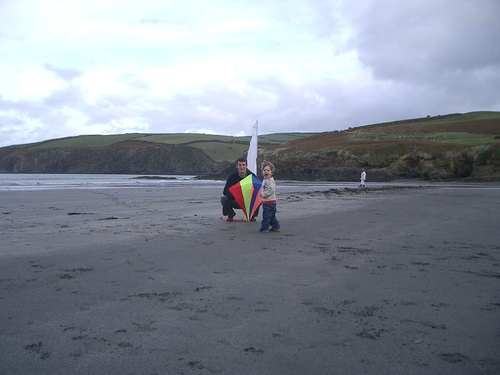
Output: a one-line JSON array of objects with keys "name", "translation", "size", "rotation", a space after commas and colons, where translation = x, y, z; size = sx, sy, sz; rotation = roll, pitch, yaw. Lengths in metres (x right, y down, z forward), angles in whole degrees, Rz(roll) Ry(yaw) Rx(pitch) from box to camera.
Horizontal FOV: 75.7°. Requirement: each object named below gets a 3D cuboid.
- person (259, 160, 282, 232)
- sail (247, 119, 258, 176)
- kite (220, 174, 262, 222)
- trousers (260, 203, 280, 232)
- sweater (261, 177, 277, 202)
[{"name": "person", "translation": [0.479, 0.192, 7.758], "size": [0.488, 1.634, 0.813], "rotation": [0, 6, 4]}, {"name": "sail", "translation": [0.094, -1.778, 14.505], "size": [0.442, 2.607, 3.339], "rotation": [0, 6, 0]}, {"name": "kite", "translation": [-0.172, 0.346, 9.545], "size": [1.261, 1.306, 1.215], "rotation": [-10, -23, -13]}, {"name": "trousers", "translation": [0.469, 0.682, 7.550], "size": [0.593, 0.807, 0.472], "rotation": [0, -2, -5]}, {"name": "sweater", "translation": [0.509, 0.114, 8.011], "size": [0.437, 0.733, 0.636], "rotation": [2, -9, -6]}]
